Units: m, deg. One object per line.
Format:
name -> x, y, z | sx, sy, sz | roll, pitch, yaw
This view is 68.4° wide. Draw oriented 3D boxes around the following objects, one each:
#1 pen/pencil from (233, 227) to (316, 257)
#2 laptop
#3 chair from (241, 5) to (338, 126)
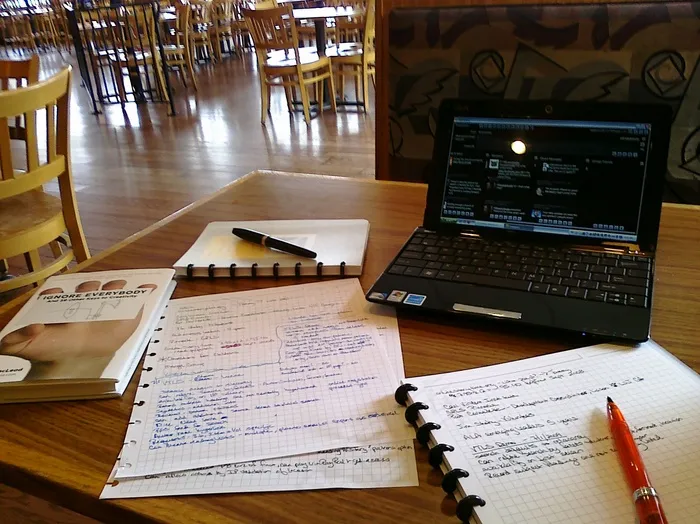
pen/pencil -> -0.123, -0.030, 0.815 | 0.124, 0.017, 0.018 | 17, -2, 34
laptop -> 0.244, -0.075, 0.709 | 0.432, 0.236, 0.368 | 11, 37, 24
chair -> -0.510, -1.696, 4.413 | 0.728, 0.894, 1.099 | -3, 26, -2
